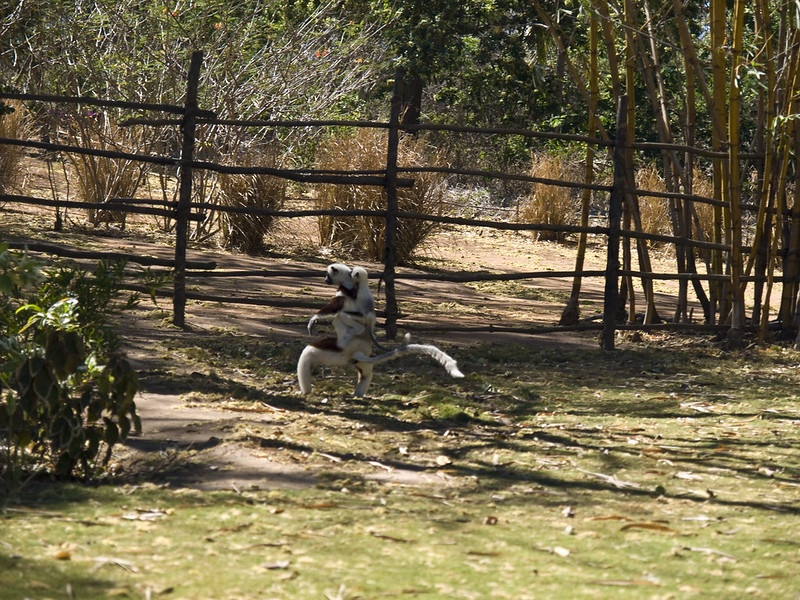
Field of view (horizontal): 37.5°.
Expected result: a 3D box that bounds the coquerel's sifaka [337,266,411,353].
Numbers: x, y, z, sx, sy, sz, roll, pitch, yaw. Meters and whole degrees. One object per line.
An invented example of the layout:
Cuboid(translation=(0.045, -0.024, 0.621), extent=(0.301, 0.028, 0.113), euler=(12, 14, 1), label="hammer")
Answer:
Cuboid(translation=(-0.207, 0.047, 6.679), extent=(0.283, 0.460, 0.128), euler=(2, 3, -11), label="coquerel's sifaka")
